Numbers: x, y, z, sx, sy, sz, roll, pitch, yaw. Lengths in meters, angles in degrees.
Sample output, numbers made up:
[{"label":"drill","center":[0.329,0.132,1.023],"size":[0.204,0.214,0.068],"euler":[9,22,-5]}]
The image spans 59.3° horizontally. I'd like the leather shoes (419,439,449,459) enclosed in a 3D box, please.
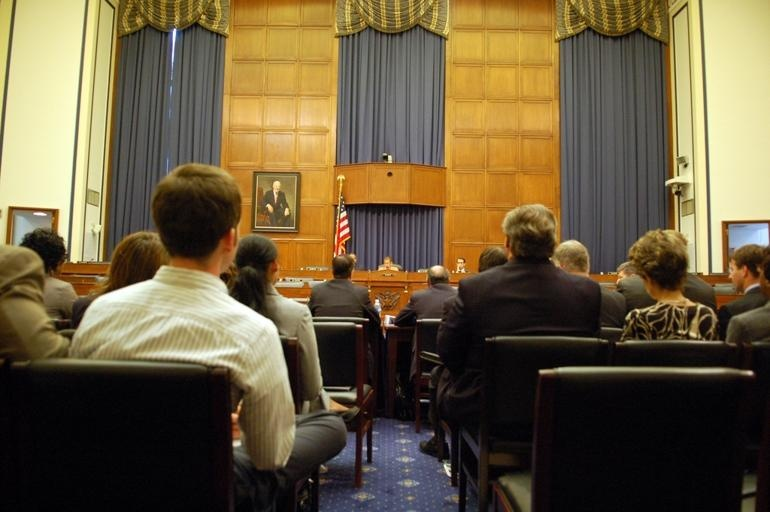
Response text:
[{"label":"leather shoes","center":[0.429,1.692,5.922],"size":[0.115,0.155,0.336],"euler":[3,-4,-22]}]
